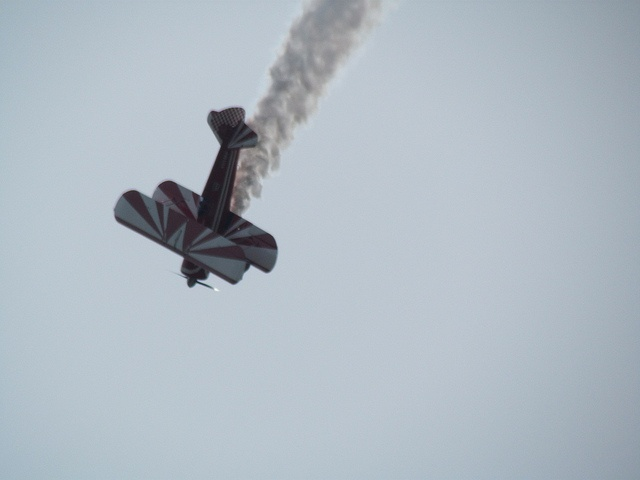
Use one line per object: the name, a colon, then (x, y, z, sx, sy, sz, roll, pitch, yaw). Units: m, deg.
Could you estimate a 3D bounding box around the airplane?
airplane: (-5.086, -1.334, 40.301, 7.403, 3.779, 8.970, 9, -60, -10)
